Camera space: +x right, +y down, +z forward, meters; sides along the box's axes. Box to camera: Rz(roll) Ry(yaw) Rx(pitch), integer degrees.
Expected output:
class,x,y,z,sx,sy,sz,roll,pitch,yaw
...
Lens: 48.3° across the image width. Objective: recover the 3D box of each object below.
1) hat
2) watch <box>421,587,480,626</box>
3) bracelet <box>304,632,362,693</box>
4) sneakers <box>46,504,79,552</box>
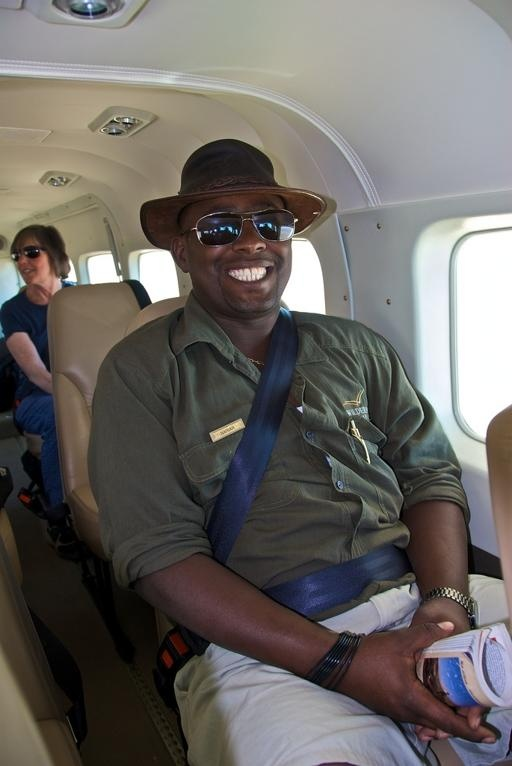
class,x,y,z,sx,sy,sz,roll,pitch,yaw
hat,-0.031,-0.559,1.672,0.466,0.171,0.425,-8,-3,-34
watch,0.431,0.502,1.286,0.048,0.078,0.080,-41,-13,-18
bracelet,0.161,0.546,1.126,0.106,0.042,0.090,-42,12,35
sneakers,-0.846,0.645,2.562,0.154,0.205,0.077,-15,1,5
